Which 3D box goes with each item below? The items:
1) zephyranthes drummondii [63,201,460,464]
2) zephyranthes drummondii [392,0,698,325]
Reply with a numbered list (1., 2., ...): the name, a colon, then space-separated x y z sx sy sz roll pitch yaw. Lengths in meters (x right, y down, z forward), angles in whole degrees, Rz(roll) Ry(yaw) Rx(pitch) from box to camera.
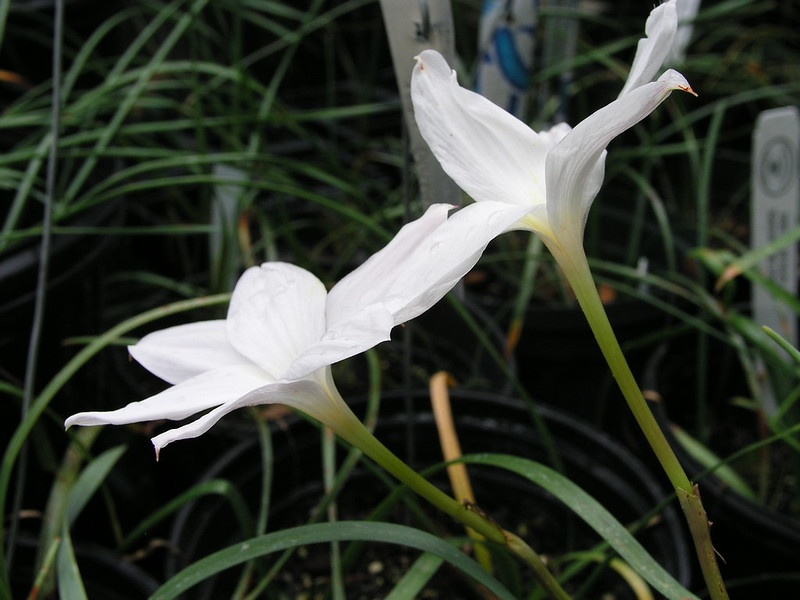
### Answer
1. zephyranthes drummondii: -0.076 0.026 0.496 0.249 0.150 0.087 -12 0 8
2. zephyranthes drummondii: 0.073 -0.082 0.554 0.177 0.172 0.194 -25 -16 -9
